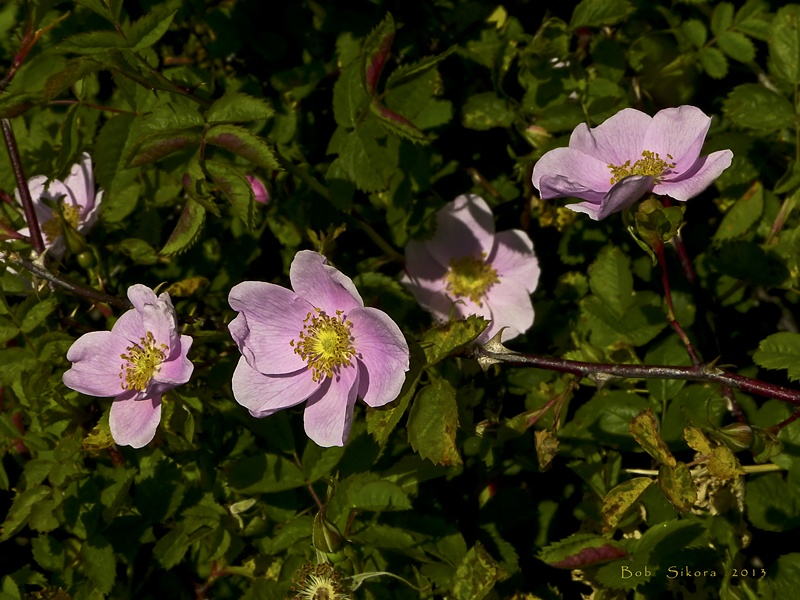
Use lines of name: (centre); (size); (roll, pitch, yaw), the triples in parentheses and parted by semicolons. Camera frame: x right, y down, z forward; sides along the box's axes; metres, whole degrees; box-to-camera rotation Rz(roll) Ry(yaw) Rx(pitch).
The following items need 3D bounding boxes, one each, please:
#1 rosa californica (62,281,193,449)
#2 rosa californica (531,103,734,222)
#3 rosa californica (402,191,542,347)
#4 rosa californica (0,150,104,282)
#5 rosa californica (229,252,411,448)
rosa californica: (-0.809, 0.180, 3.279); (0.362, 0.161, 0.421); (11, 37, 11)
rosa californica: (0.714, -0.361, 3.258); (0.488, 0.428, 0.185); (-36, 105, -29)
rosa californica: (0.302, -0.009, 3.793); (0.183, 0.639, 0.569); (16, 75, 18)
rosa californica: (-1.143, -0.319, 3.609); (0.313, 0.188, 0.412); (33, 89, 35)
rosa californica: (-0.196, 0.133, 3.202); (0.653, 0.235, 0.583); (36, 41, 25)
